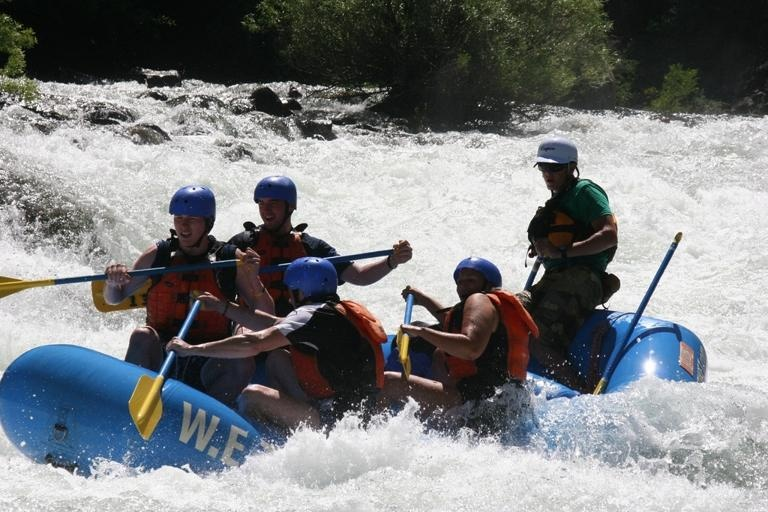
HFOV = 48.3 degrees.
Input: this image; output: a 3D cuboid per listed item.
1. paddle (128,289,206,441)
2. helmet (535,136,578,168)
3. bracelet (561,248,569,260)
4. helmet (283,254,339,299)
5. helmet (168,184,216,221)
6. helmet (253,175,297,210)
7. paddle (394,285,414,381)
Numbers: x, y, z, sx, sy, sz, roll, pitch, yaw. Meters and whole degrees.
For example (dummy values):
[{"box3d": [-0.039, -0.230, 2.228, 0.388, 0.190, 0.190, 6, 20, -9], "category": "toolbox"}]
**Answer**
[{"box3d": [-2.029, 1.077, 8.147, 0.305, 0.153, 1.244, 19, 54, 12], "category": "paddle"}, {"box3d": [1.883, -1.147, 9.393, 0.397, 0.186, 0.297, 8, -4, -41], "category": "helmet"}, {"box3d": [1.933, -0.021, 9.201, 0.101, 0.078, 0.145, -5, 15, 13], "category": "bracelet"}, {"box3d": [-0.697, 0.189, 8.267, 0.478, 0.359, 0.337, -7, 7, -3], "category": "helmet"}, {"box3d": [-1.955, -0.555, 8.780, 0.326, 0.313, 0.419, 2, -19, 2], "category": "helmet"}, {"box3d": [-1.179, -0.702, 9.376, 0.434, 0.318, 0.321, -12, 12, -12], "category": "helmet"}, {"box3d": [0.214, 0.794, 8.661, 0.213, 0.082, 0.748, 4, 42, -9], "category": "paddle"}]
